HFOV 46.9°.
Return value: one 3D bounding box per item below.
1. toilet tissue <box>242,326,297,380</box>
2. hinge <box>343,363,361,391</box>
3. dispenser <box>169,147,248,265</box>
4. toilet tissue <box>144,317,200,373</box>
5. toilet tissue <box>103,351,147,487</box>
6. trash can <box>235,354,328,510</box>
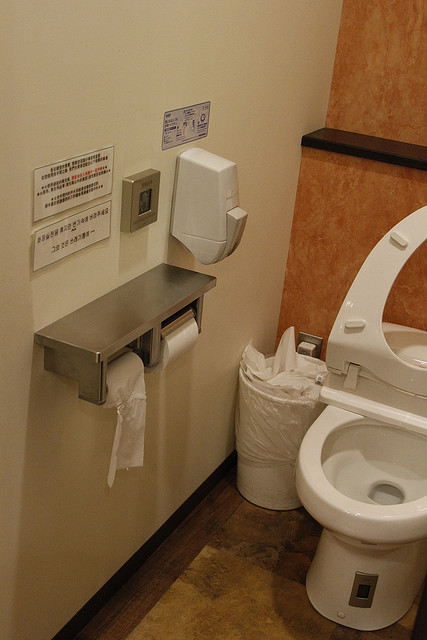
[{"bbox_3d":[0.174,0.144,1.561,0.196,0.212,0.144,3,-7,-27],"label":"toilet tissue"},{"bbox_3d":[0.385,0.158,1.355,0.035,0.091,0.015,15,28,17],"label":"hinge"},{"bbox_3d":[-0.003,-0.224,0.947,0.121,0.217,0.099,25,44,21],"label":"dispenser"},{"bbox_3d":[-0.087,0.038,0.941,0.086,0.106,0.119,6,22,23],"label":"toilet tissue"},{"bbox_3d":[-0.157,0.209,0.883,0.066,0.366,0.172,1,28,-9],"label":"toilet tissue"},{"bbox_3d":[0.193,0.337,1.569,0.219,0.399,0.254,8,25,16],"label":"trash can"}]
